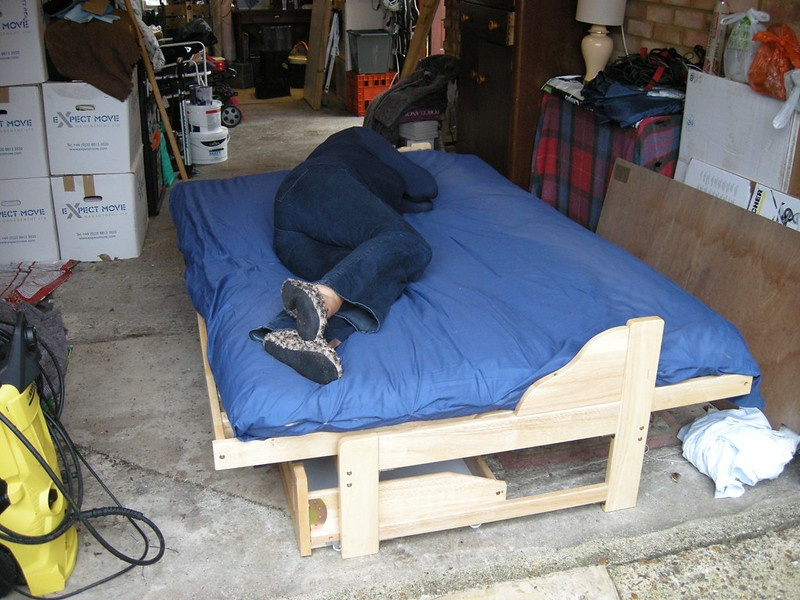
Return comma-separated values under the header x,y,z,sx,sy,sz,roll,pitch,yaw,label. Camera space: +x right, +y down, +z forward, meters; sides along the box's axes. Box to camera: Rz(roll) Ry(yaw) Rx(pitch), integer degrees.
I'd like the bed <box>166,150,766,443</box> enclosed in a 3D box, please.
x,y,z,sx,sy,sz,roll,pitch,yaw,label
0.140,0.041,2.165,1.343,0.282,1.297,-8,35,-20,bed

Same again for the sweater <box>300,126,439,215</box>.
x,y,z,sx,sy,sz,roll,pitch,yaw,label
-0.208,-0.524,2.771,0.626,0.213,0.601,29,20,4,sweater

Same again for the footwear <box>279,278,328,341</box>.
x,y,z,sx,sy,sz,roll,pitch,yaw,label
-0.275,0.026,1.907,0.129,0.194,0.074,-10,6,42,footwear

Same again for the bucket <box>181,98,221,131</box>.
x,y,z,sx,sy,sz,roll,pitch,yaw,label
-1.585,-1.516,5.024,0.271,0.191,0.231,8,29,13,bucket

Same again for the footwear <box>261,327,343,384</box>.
x,y,z,sx,sy,sz,roll,pitch,yaw,label
-0.286,0.159,1.892,0.301,0.101,0.117,28,42,25,footwear

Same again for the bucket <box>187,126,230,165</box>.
x,y,z,sx,sy,sz,roll,pitch,yaw,label
-1.626,-1.317,5.217,0.413,0.239,0.395,3,28,-1,bucket

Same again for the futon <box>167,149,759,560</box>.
x,y,z,sx,sy,sz,roll,pitch,yaw,label
0.229,0.054,2.248,1.486,0.525,1.448,-8,34,-17,futon

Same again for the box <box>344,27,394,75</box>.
x,y,z,sx,sy,sz,roll,pitch,yaw,label
-0.430,-2.744,6.711,0.510,0.426,0.602,-20,38,-33,box

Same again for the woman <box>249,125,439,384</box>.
x,y,z,sx,sy,sz,roll,pitch,yaw,label
-0.211,-0.362,2.616,0.636,0.676,1.741,-6,46,4,woman
